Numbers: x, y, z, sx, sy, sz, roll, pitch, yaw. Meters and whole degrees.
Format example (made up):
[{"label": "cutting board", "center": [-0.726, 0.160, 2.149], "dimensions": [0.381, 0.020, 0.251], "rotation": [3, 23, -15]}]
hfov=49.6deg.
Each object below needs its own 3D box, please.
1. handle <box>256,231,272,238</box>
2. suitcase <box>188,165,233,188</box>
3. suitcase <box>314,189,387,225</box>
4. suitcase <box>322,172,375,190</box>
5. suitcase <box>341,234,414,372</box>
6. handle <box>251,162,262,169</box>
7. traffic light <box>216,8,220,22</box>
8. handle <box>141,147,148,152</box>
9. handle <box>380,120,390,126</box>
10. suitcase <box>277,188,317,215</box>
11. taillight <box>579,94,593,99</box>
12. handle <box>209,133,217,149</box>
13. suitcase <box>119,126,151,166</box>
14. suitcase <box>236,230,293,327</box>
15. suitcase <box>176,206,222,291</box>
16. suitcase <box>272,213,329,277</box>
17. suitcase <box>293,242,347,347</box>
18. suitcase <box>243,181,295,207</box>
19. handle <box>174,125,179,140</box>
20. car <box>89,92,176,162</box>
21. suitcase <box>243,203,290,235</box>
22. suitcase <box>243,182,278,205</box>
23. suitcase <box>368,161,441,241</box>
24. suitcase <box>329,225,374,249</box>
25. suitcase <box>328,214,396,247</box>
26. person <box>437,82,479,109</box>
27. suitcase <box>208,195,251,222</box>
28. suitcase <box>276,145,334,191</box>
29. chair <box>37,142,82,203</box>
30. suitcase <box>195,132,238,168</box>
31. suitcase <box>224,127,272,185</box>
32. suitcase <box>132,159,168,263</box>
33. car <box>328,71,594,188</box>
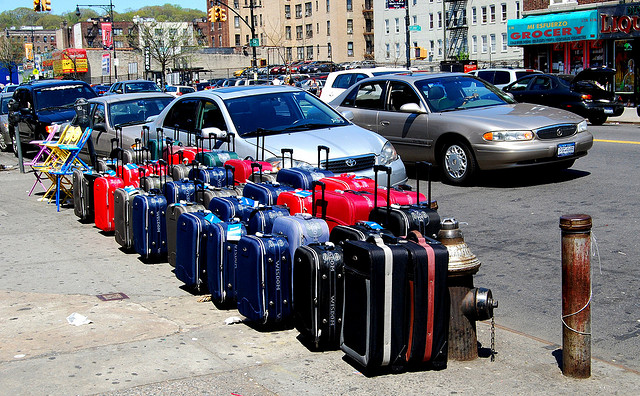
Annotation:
[{"label": "handle", "center": [-0.654, 0.412, 7.809], "dimensions": [0.125, 0.042, 0.075], "rotation": [2, 4, 2]}, {"label": "suitcase", "center": [-1.619, -0.430, 10.306], "dimensions": [0.490, 0.438, 0.352], "rotation": [-8, 15, -41]}, {"label": "suitcase", "center": [0.319, 0.075, 8.415], "dimensions": [0.482, 0.466, 0.645], "rotation": [-7, 13, -31]}, {"label": "suitcase", "center": [0.339, -0.205, 9.194], "dimensions": [0.458, 0.129, 0.338], "rotation": [-5, 14, -15]}, {"label": "suitcase", "center": [0.551, 1.097, 7.035], "dimensions": [0.762, 1.294, 0.376], "rotation": [-2, 12, 4]}, {"label": "handle", "center": [-0.926, -0.468, 9.879], "dimensions": [0.138, 0.081, 0.098], "rotation": [0, 10, -10]}, {"label": "traffic light", "center": [-6.156, -10.958, 41.283], "dimensions": [0.220, 0.696, 0.661], "rotation": [-5, 11, -11]}, {"label": "handle", "center": [-3.115, -0.867, 12.271], "dimensions": [0.125, 0.118, 0.038], "rotation": [-5, 2, 33]}, {"label": "handle", "center": [1.336, -1.625, 15.020], "dimensions": [0.035, 0.121, 0.238], "rotation": [-13, 15, -42]}, {"label": "suitcase", "center": [-0.316, 0.000, 8.781], "dimensions": [0.375, 0.263, 0.307], "rotation": [-7, 14, -36]}, {"label": "taillight", "center": [9.218, -3.559, 24.384], "dimensions": [0.545, 0.172, 0.112], "rotation": [-7, 12, -24]}, {"label": "handle", "center": [-1.857, -0.981, 11.874], "dimensions": [0.199, 0.311, 0.111], "rotation": [4, 17, -3]}, {"label": "suitcase", "center": [-3.277, -0.909, 12.353], "dimensions": [0.426, 0.739, 0.258], "rotation": [-17, 31, -36]}, {"label": "suitcase", "center": [-0.650, 0.895, 7.792], "dimensions": [0.618, 0.986, 0.318], "rotation": [-4, 12, -6]}, {"label": "suitcase", "center": [-1.511, 0.681, 8.584], "dimensions": [0.316, 0.992, 0.643], "rotation": [-13, 15, -40]}, {"label": "suitcase", "center": [-0.255, 0.522, 8.140], "dimensions": [0.550, 0.646, 0.695], "rotation": [0, 2, -27]}, {"label": "suitcase", "center": [-0.021, 1.056, 7.382], "dimensions": [0.546, 1.136, 0.378], "rotation": [-3, 12, -4]}, {"label": "suitcase", "center": [-0.695, -0.101, 9.204], "dimensions": [0.467, 0.311, 0.365], "rotation": [-7, 13, -38]}, {"label": "handle", "center": [-2.742, -1.250, 13.172], "dimensions": [0.099, 0.252, 0.316], "rotation": [-5, 11, -10]}, {"label": "car", "center": [-3.965, -1.598, 15.120], "dimensions": [1.594, 1.060, 2.421], "rotation": [-8, 7, -37]}, {"label": "suitcase", "center": [-0.676, 0.214, 8.413], "dimensions": [0.479, 0.426, 0.360], "rotation": [-7, 14, -35]}, {"label": "suitcase", "center": [-0.811, -0.058, 9.141], "dimensions": [0.386, 0.282, 0.295], "rotation": [-2, 15, -41]}, {"label": "suitcase", "center": [0.956, 0.107, 7.984], "dimensions": [0.587, 0.974, 0.658], "rotation": [-10, 14, -37]}, {"label": "suitcase", "center": [0.271, 0.385, 7.345], "dimensions": [0.326, 0.211, 0.237], "rotation": [-1, 16, -35]}, {"label": "suitcase", "center": [0.420, 0.356, 7.360], "dimensions": [0.438, 0.296, 0.328], "rotation": [-4, 20, -35]}, {"label": "person", "center": [2.812, -2.143, 14.624], "dimensions": [0.746, 0.283, 0.535], "rotation": [-13, 32, -11]}, {"label": "suitcase", "center": [-1.156, 0.109, 8.778], "dimensions": [0.432, 0.301, 0.339], "rotation": [-6, 15, -41]}, {"label": "suitcase", "center": [-0.175, -0.273, 9.695], "dimensions": [0.662, 0.860, 0.656], "rotation": [0, -2, 0]}, {"label": "chair", "center": [-4.934, -0.451, 13.251], "dimensions": [0.753, 0.878, 0.719], "rotation": [-4, 3, 5]}, {"label": "suitcase", "center": [-1.588, -0.772, 11.120], "dimensions": [0.685, 0.698, 0.468], "rotation": [-8, 13, -39]}, {"label": "suitcase", "center": [-1.094, -0.523, 10.517], "dimensions": [0.631, 0.885, 0.624], "rotation": [-11, 7, 3]}, {"label": "suitcase", "center": [-2.347, 0.375, 9.588], "dimensions": [0.521, 1.173, 0.996], "rotation": [-5, 12, -13]}, {"label": "car", "center": [2.576, -1.583, 14.944], "dimensions": [2.406, 1.610, 5.251], "rotation": [-8, 10, -41]}]
